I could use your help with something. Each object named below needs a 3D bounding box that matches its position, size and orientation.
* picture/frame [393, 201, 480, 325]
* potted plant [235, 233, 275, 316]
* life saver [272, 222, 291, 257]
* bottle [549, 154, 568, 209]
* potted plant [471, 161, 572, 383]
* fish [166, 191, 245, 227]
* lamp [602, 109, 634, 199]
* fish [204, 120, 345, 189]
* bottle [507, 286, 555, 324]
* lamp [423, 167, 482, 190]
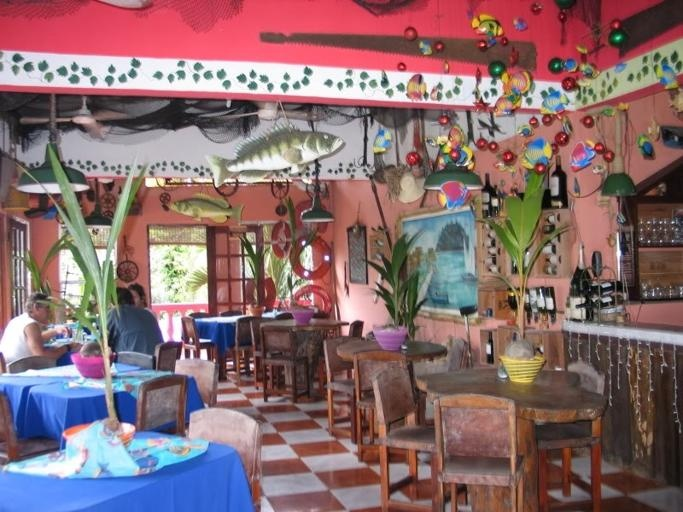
[{"bbox_3d":[1.091,0.105,7.231,0.051,1.076,1.380,-2,-1,-16],"label":"picture/frame"},{"bbox_3d":[-1.338,0.160,10.293,0.552,1.340,2.419,0,-6,-7],"label":"potted plant"},{"bbox_3d":[-1.037,-0.271,11.209,0.128,0.574,0.531,0,15,17],"label":"life saver"},{"bbox_3d":[1.908,-0.637,5.723,0.171,0.470,0.187,3,-12,1],"label":"bottle"},{"bbox_3d":[1.536,0.071,5.316,0.705,1.733,2.189,-1,-5,13],"label":"potted plant"},{"bbox_3d":[-2.034,-0.666,9.383,1.081,0.535,0.278,8,-37,-8],"label":"fish"},{"bbox_3d":[2.220,-0.828,5.233,0.237,0.782,0.599,-2,-5,25],"label":"lamp"},{"bbox_3d":[-0.477,-0.736,4.543,1.086,0.373,0.305,-3,-6,25],"label":"fish"},{"bbox_3d":[1.656,0.420,5.617,0.149,0.284,0.297,-9,10,-24],"label":"bottle"},{"bbox_3d":[0.874,-0.593,5.057,0.419,0.194,0.455,0,-1,12],"label":"lamp"}]
